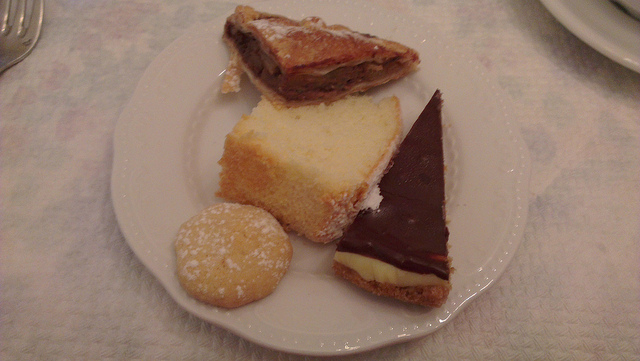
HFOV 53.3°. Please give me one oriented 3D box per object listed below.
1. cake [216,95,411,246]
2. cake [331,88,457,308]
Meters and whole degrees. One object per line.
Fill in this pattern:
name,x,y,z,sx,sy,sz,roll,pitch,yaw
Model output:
cake,-0.035,-0.099,2.958,0.722,0.280,0.714,-8,41,-6
cake,0.466,0.010,3.050,0.547,0.255,1.009,12,70,17
